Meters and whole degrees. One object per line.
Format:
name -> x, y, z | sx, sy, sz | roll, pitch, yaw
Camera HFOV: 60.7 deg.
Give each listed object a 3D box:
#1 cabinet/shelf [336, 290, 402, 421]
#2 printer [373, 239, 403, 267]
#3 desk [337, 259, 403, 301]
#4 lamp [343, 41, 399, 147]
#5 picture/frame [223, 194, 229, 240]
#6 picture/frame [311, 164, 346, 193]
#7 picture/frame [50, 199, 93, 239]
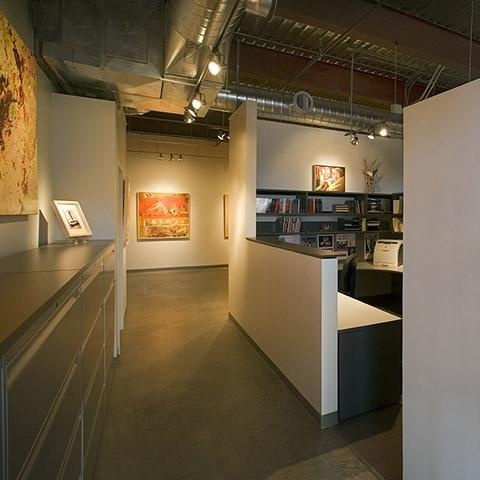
cabinet/shelf -> 0.989, 0.978, 3.516 | 0.675, 0.708, 0.574 | -2, 7, -19
printer -> 2.171, 0.182, 6.010 | 0.302, 0.481, 0.383 | 1, -1, -35
desk -> 2.041, 0.788, 6.314 | 0.739, 0.640, 0.784 | 0, 4, -30
lamp -> 1.961, -2.238, 6.184 | 0.587, 2.068, 1.426 | 4, 9, 38
picture/frame -> -0.371, -0.588, 10.212 | 0.117, 1.130, 0.093 | 0, 5, -4
picture/frame -> 1.454, -1.008, 6.692 | 0.686, 0.414, 0.187 | -5, 8, -36
picture/frame -> -1.553, -0.193, 3.722 | 0.033, 0.286, 0.282 | -17, 11, 10
